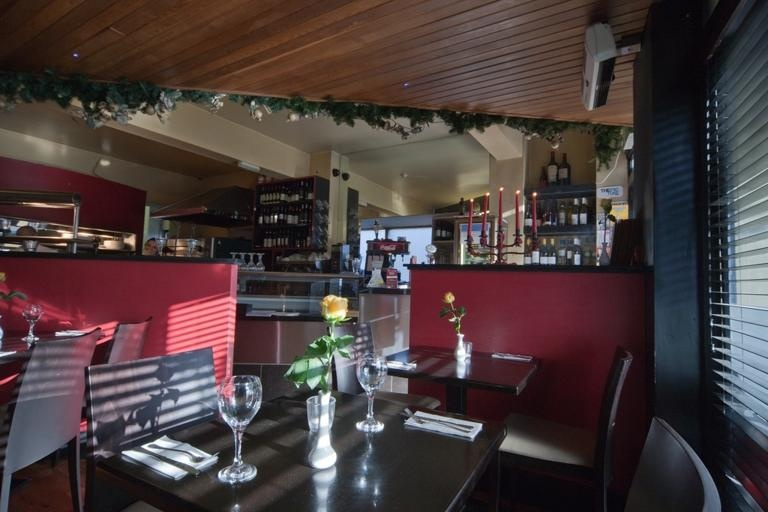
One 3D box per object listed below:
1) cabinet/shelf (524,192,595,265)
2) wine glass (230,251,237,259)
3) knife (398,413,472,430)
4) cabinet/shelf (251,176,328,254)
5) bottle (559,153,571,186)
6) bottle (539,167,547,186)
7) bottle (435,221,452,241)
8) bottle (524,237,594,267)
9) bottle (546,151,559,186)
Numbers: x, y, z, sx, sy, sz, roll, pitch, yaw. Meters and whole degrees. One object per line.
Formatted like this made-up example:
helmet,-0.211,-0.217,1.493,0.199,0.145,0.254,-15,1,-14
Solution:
cabinet/shelf,2.251,-0.334,6.529,0.903,1.326,0.390,-1,-9,20
wine glass,-1.993,-0.025,6.876,0.091,0.093,0.084,0,-7,-2
knife,0.264,0.829,2.651,0.359,0.049,0.107,5,3,17
cabinet/shelf,-1.534,-0.667,8.555,1.253,1.132,0.463,0,-3,30
bottle,2.456,-1.194,7.043,0.173,0.399,0.253,6,15,28
bottle,2.225,-1.124,7.235,0.091,0.241,0.254,1,14,11
bottle,1.038,-0.464,8.939,0.389,0.304,0.211,-4,14,-11
bottle,2.383,-0.085,6.784,0.726,0.347,0.227,5,15,22
bottle,2.331,-1.227,7.127,0.138,0.449,0.313,3,14,18
